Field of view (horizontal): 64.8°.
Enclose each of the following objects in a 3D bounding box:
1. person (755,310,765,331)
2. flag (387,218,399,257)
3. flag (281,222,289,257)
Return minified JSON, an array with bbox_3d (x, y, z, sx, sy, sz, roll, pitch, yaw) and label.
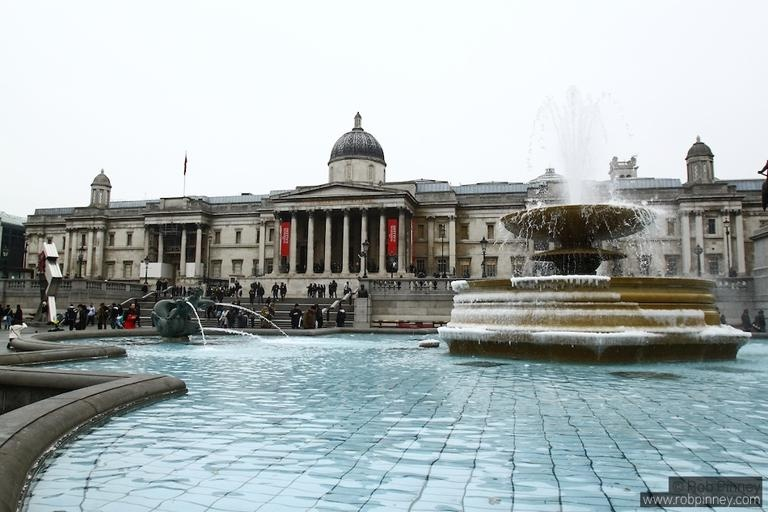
[{"bbox_3d":[16.333,2.782,26.330,0.374,0.623,1.126,-4,-2,30],"label":"person"},{"bbox_3d":[0.718,-1.588,49.836,0.869,3.192,1.732,-3,-3,2],"label":"flag"},{"bbox_3d":[-8.410,-1.436,51.448,0.795,2.864,1.407,-2,-3,-10],"label":"flag"}]
